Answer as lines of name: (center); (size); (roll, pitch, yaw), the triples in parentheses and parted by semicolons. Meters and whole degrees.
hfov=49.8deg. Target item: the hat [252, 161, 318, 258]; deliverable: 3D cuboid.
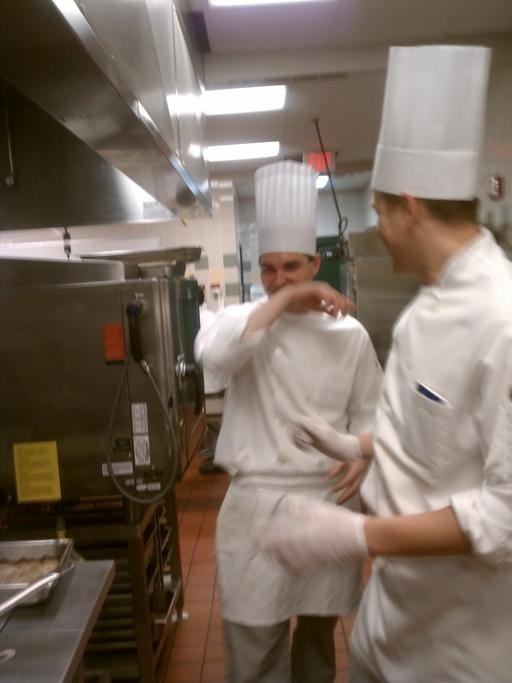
hat: (0.086, -0.332, 1.553); (0.210, 0.363, 0.206); (-1, 2, 6)

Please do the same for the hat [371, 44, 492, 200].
hat: (0.285, -0.359, 0.919); (0.193, 0.263, 0.123); (-1, 9, 24)

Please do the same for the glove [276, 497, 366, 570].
glove: (0.106, 0.326, 0.936); (0.059, 0.110, 0.154); (17, -8, -21)

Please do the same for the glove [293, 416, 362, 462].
glove: (0.161, 0.235, 1.302); (0.108, 0.066, 0.043); (10, 24, 2)
